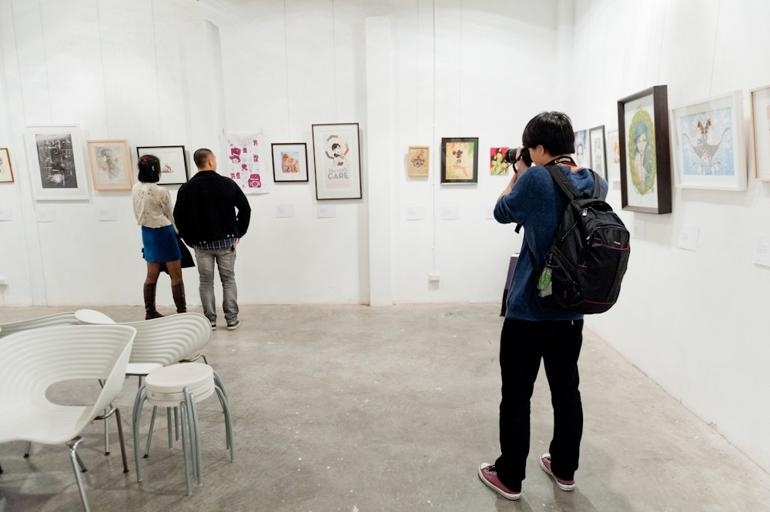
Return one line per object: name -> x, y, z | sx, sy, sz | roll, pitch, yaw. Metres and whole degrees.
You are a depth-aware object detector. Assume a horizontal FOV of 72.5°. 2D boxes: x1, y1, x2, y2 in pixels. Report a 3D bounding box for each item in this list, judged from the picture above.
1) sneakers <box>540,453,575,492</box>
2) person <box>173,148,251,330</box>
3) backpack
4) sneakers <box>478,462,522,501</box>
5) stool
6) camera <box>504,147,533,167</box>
sneakers -> 1.314, 1.653, 4.014 | 0.117, 0.121, 0.325 | 0, 15, -11
person -> -2.136, -0.175, 6.549 | 0.871, 2.224, 0.332 | -7, 11, -25
backpack -> 1.316, -0.088, 3.562 | 0.611, 1.033, 0.349 | 1, 10, 16
sneakers -> 0.841, 1.684, 3.920 | 0.137, 0.141, 0.340 | 6, 14, -30
stool -> -1.598, 1.288, 4.111 | 0.736, 0.872, 0.520 | 2, 11, 20
camera -> 0.979, -0.713, 3.856 | 0.170, 0.087, 0.164 | 3, 8, 41
